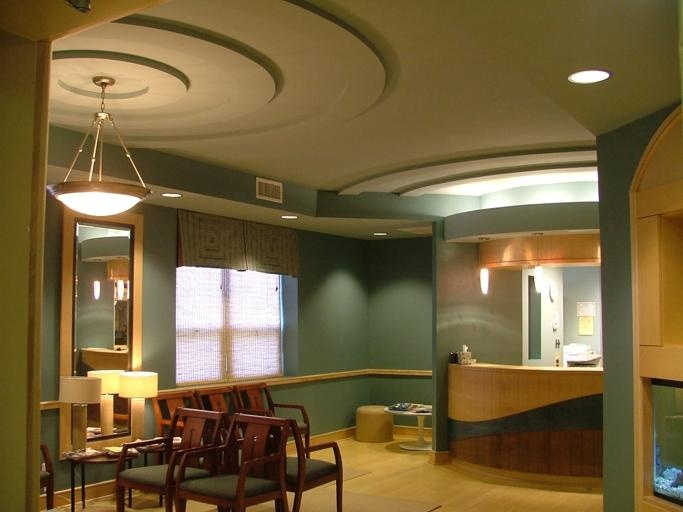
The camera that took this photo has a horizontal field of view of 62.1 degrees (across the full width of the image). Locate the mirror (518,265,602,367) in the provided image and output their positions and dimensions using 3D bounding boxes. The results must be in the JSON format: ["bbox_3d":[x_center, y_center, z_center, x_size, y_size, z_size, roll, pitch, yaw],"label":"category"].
[{"bbox_3d":[3.951,0.995,9.851,0.698,1.810,3.408,-2,-6,31],"label":"mirror"}]

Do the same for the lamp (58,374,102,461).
[{"bbox_3d":[-2.399,1.540,5.427,0.356,0.619,0.375,3,-22,26],"label":"lamp"}]

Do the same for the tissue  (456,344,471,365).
[{"bbox_3d":[1.632,1.338,7.593,0.189,0.347,0.200,-1,-5,9],"label":"tissue "}]

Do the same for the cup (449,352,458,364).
[{"bbox_3d":[1.497,1.362,7.553,0.117,0.203,0.129,2,-5,0],"label":"cup"}]

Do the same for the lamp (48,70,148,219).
[{"bbox_3d":[-1.793,-0.826,4.236,0.631,0.972,0.677,3,0,-22],"label":"lamp"}]

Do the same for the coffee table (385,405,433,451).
[{"bbox_3d":[1.066,2.490,8.112,0.608,0.445,0.646,-3,-14,18],"label":"coffee table"}]
